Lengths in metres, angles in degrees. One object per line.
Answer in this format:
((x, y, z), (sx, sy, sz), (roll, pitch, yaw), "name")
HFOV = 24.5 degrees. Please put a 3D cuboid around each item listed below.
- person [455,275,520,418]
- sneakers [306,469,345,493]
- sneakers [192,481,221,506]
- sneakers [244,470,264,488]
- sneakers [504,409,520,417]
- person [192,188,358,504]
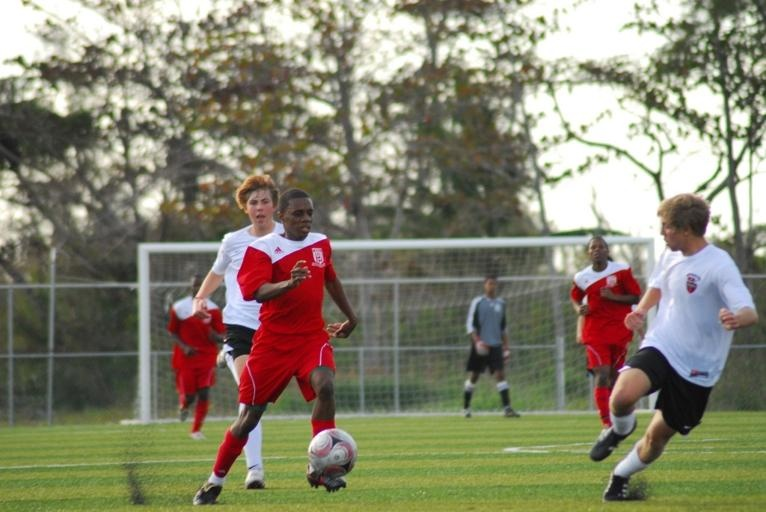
((1.633, 1.442, 28.061), (0.646, 2.231, 1.213), (-4, -8, 19), "person")
((-0.827, 3.099, 24.402), (0.520, 0.226, 0.255), (0, -2, 5), "sneakers")
((-2.494, 3.294, 24.530), (0.250, 0.405, 0.155), (43, -13, -5), "sneakers")
((-1.862, 3.163, 25.053), (0.278, 0.247, 0.218), (-3, -10, 9), "sneakers")
((2.047, 2.515, 28.328), (0.112, 0.114, 0.284), (-1, -3, 26), "sneakers")
((-1.529, 1.104, 24.417), (1.591, 3.951, 0.747), (-1, -7, -6), "person")
